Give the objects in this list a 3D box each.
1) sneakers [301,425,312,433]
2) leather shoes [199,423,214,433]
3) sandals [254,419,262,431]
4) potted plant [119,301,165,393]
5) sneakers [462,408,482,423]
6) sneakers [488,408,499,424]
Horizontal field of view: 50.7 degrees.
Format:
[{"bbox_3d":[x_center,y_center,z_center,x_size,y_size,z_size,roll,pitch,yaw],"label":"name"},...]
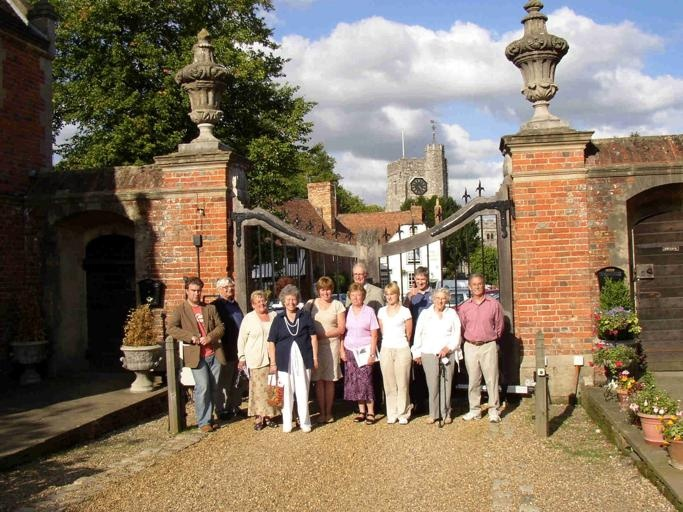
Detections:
[{"bbox_3d":[-0.528,2.565,10.809,0.156,0.108,0.163,-4,13,-10],"label":"sneakers"},{"bbox_3d":[-2.048,2.598,10.935,0.201,0.100,0.126,-4,13,-11],"label":"leather shoes"},{"bbox_3d":[-1.263,2.537,10.941,0.143,0.160,0.123,-3,13,-8],"label":"sandals"},{"bbox_3d":[-3.435,1.585,12.350,0.628,1.380,0.771,-3,13,-9],"label":"potted plant"},{"bbox_3d":[1.991,2.431,11.022,0.262,0.153,0.119,-7,-20,24],"label":"sneakers"},{"bbox_3d":[2.290,2.422,10.930,0.140,0.163,0.332,1,-9,9],"label":"sneakers"}]
